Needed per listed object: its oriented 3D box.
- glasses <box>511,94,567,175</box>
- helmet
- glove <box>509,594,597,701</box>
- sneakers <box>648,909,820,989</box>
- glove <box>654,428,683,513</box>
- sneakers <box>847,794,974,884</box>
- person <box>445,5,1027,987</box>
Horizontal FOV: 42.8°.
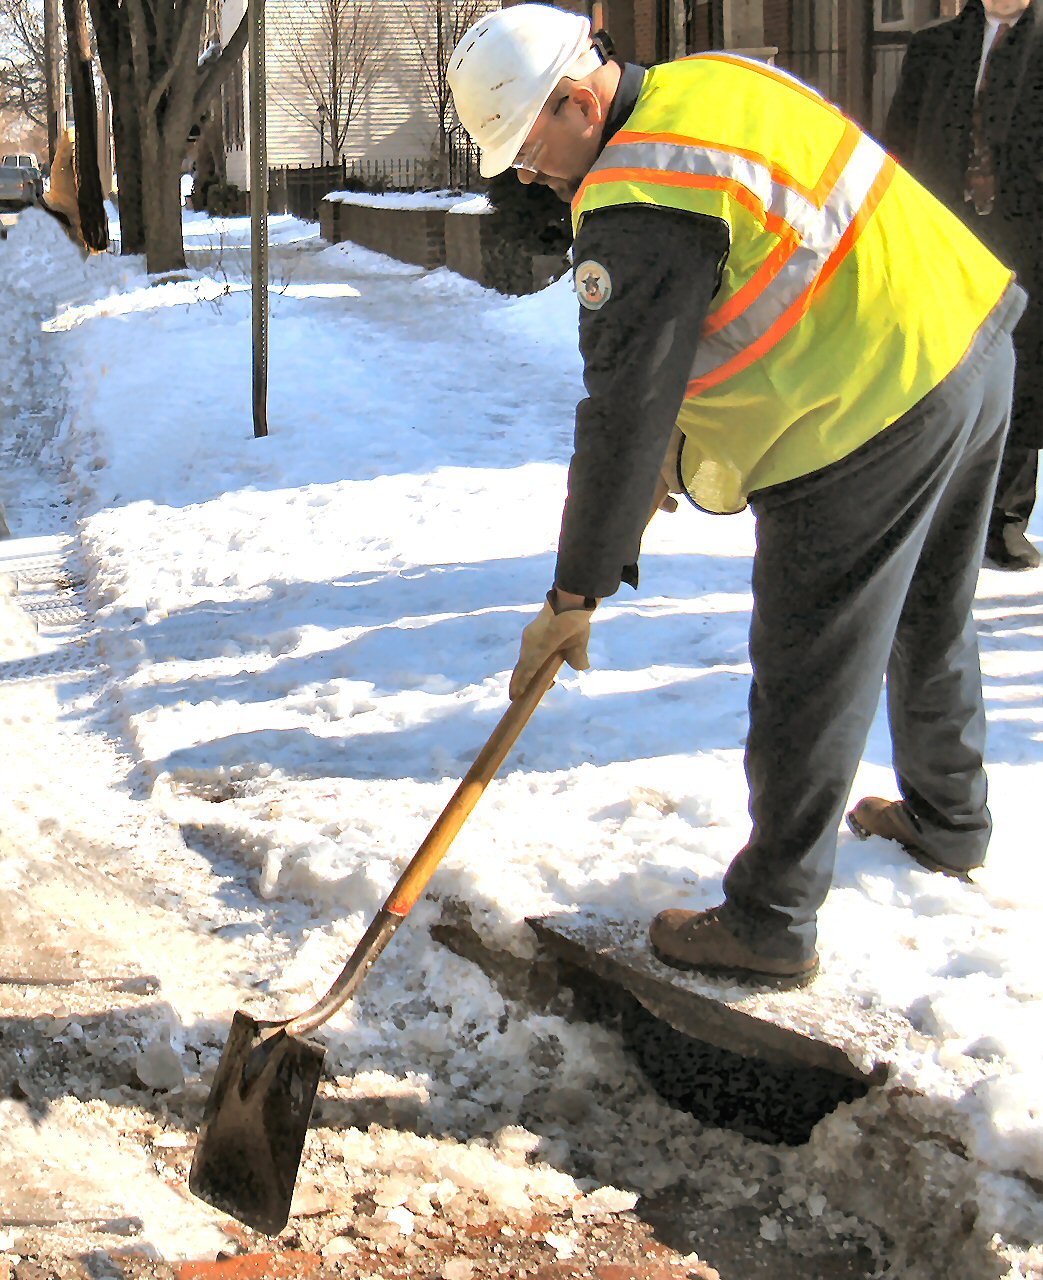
[{"bbox_3d":[0.037,-0.811,2.131,0.040,0.095,0.071,13,19,-18],"label":"glasses"},{"bbox_3d":[-0.009,-0.893,2.153,0.265,0.261,0.221,7,19,14],"label":"helmet"},{"bbox_3d":[0.047,0.010,2.407,0.078,0.188,0.124,-10,54,-43],"label":"glove"},{"bbox_3d":[0.395,0.557,2.594,0.361,0.136,0.120,10,46,17],"label":"sneakers"},{"bbox_3d":[0.293,-0.328,2.674,0.049,0.119,0.095,8,10,27],"label":"glove"},{"bbox_3d":[0.850,0.436,3.032,0.099,0.125,0.310,-33,20,-30],"label":"sneakers"},{"bbox_3d":[0.466,-0.183,2.415,1.075,1.735,0.501,-7,22,-27],"label":"person"}]
